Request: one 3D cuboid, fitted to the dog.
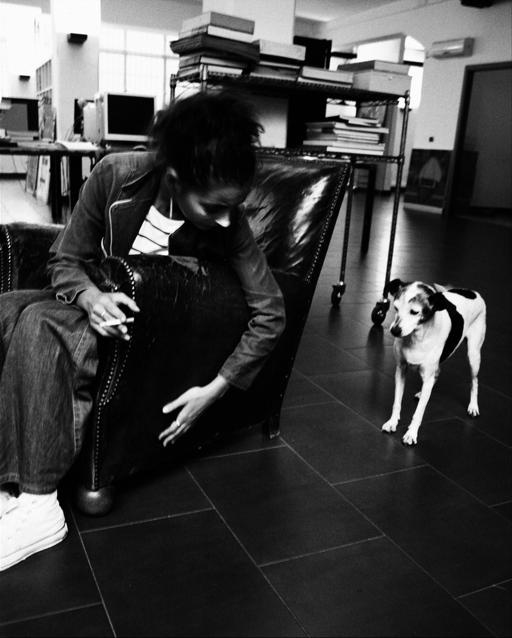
[{"bbox_3d":[0.595,0.116,1.639,0.321,0.502,0.557,8,11,29],"label":"dog"}]

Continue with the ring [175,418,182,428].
[{"bbox_3d":[-0.158,0.203,0.970,0.010,0.021,0.006,12,24,18],"label":"ring"}]

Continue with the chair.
[{"bbox_3d":[-0.225,-0.061,1.433,0.825,0.971,0.743,4,9,-40],"label":"chair"}]
